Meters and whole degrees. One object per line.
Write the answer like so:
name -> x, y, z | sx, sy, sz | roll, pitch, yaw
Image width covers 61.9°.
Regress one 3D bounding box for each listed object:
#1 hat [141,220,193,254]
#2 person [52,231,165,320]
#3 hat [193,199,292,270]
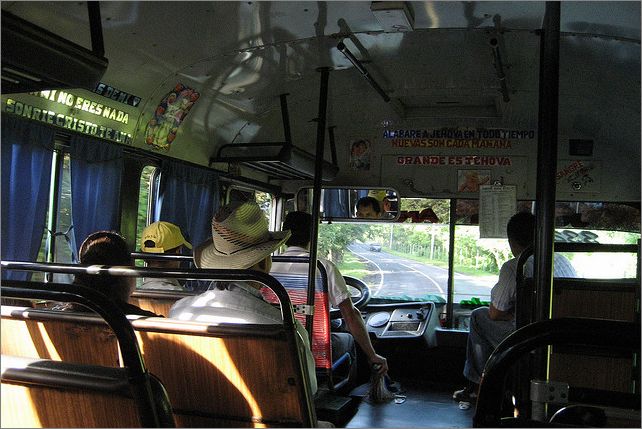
hat -> -1.486, 0.209, 5.121 | 0.284, 0.220, 0.402 | 2, 4, 29
person -> -1.394, 0.358, 3.531 | 0.762, 0.602, 0.548 | 1, 3, -7
hat -> -0.541, 0.173, 3.603 | 0.499, 0.238, 0.552 | -3, 22, 21
